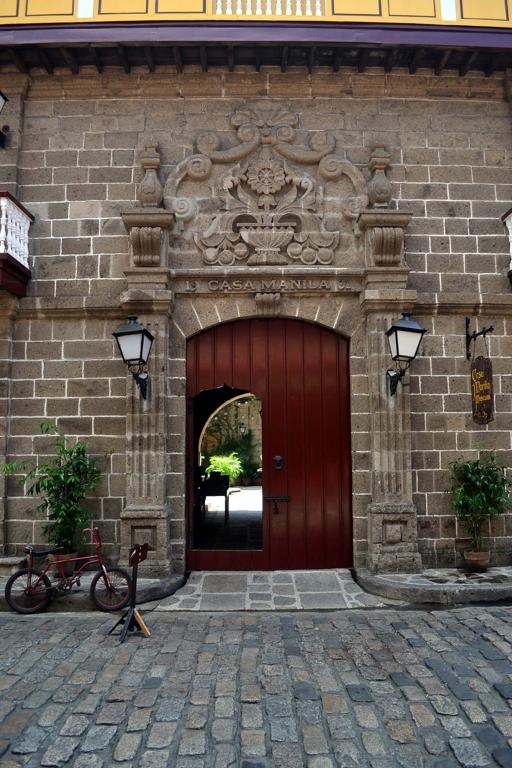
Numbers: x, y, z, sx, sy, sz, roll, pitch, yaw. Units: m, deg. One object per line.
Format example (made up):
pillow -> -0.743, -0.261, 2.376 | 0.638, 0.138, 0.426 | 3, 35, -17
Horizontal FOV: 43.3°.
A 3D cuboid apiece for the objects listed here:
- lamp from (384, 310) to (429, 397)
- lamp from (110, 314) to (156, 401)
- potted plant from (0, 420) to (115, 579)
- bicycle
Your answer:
lamp -> 1.424, -0.282, 6.203 | 0.333, 0.827, 0.894 | 0, 2, 12
lamp -> -1.167, -0.254, 6.121 | 0.342, 0.798, 0.748 | 0, 2, -7
potted plant -> -2.034, 1.094, 6.847 | 1.213, 1.673, 1.204 | -3, -3, -25
bicycle -> -1.727, 1.701, 5.998 | 1.376, 0.943, 0.654 | -4, -13, -3
